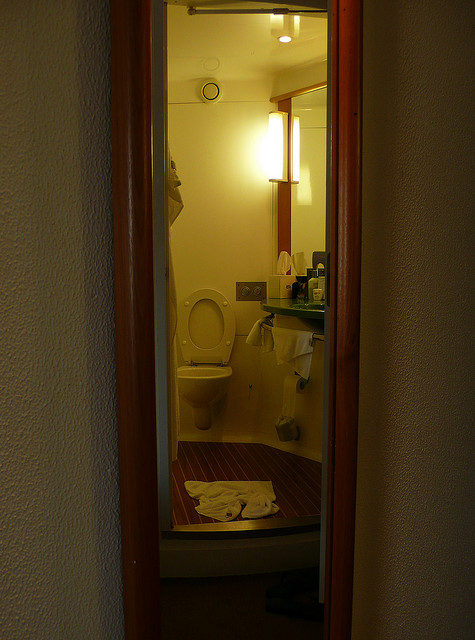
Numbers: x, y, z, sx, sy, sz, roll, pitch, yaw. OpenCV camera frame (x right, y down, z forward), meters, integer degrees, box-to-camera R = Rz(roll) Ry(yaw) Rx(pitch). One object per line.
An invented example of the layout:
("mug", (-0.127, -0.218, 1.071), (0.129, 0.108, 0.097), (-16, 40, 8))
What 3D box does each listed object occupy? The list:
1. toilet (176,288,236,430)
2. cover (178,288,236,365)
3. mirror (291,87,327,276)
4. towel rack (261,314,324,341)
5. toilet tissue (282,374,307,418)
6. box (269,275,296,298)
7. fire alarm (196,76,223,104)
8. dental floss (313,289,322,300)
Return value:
("toilet", (-0.172, 0.225, 2.932), (0.253, 0.817, 0.366), (1, 3, -5))
("cover", (-0.176, 0.034, 3.073), (0.237, 0.510, 0.258), (0, 8, -14))
("mirror", (0.365, -0.722, 2.860), (0.220, 0.949, 0.138), (2, 8, 30))
("towel rack", (0.332, 0.074, 2.504), (0.146, 0.048, 0.165), (7, 18, 21))
("toilet tissue", (0.267, 0.365, 2.618), (0.097, 0.214, 0.114), (5, 7, 6))
("box", (0.232, -0.164, 2.868), (0.101, 0.141, 0.114), (0, 0, 30))
("fire alarm", (-0.156, -1.267, 2.962), (0.146, 0.131, 0.067), (-3, 7, -4))
("dental floss", (0.381, -0.123, 2.578), (0.029, 0.072, 0.058), (-3, 9, -22))
